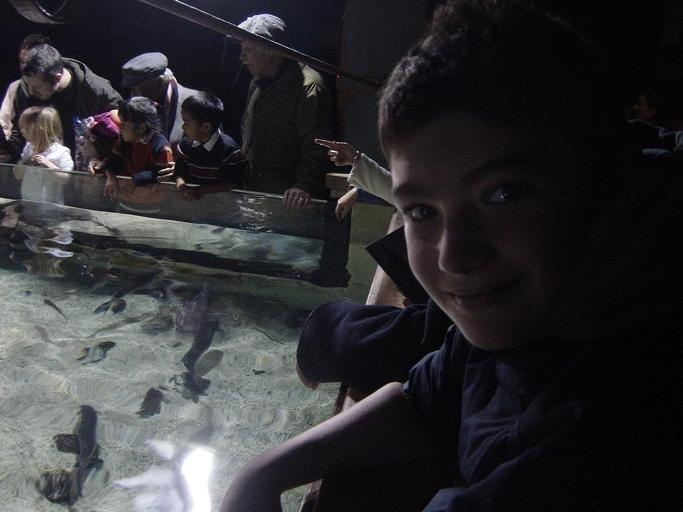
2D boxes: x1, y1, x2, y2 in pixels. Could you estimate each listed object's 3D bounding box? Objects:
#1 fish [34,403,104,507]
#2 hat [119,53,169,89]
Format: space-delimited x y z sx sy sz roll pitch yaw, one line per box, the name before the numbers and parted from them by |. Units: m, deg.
fish | -0.617 0.457 1.221 0.087 0.045 0.180 3 29 -18
hat | -1.093 -1.059 3.006 0.261 0.091 0.209 -31 48 -23
